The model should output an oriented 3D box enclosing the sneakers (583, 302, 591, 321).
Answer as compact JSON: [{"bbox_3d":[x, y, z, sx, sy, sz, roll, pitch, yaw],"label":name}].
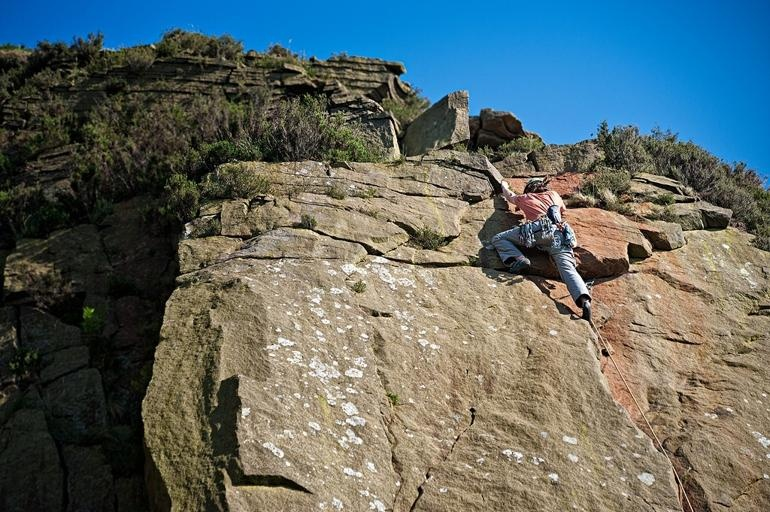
[{"bbox_3d":[4.537,1.257,13.120,0.202,0.440,0.178,5,-9,12],"label":"sneakers"}]
